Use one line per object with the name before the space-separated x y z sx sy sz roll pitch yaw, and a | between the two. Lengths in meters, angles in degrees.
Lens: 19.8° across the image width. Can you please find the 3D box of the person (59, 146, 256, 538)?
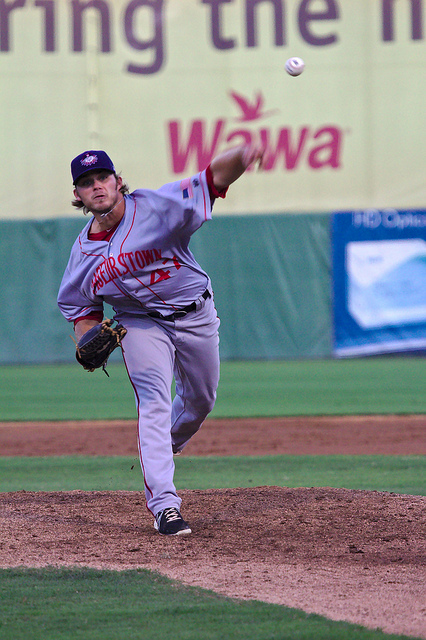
person | -0.276 0.089 5.582 0.922 1.705 0.625 0 3 8

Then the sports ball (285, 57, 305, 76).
sports ball | 0.463 -1.458 6.910 0.129 0.124 0.127 -3 3 0

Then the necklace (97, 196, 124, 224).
necklace | -0.482 -0.478 5.450 0.033 0.192 0.028 46 12 24

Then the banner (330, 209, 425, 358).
banner | 1.683 -0.326 12.335 1.458 1.782 0.138 -1 -4 -2

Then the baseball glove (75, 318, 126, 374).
baseball glove | -0.556 0.130 5.644 0.184 0.089 0.314 -15 4 38

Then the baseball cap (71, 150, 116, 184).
baseball cap | -0.551 -0.698 5.523 0.194 0.150 0.192 -1 3 -8
